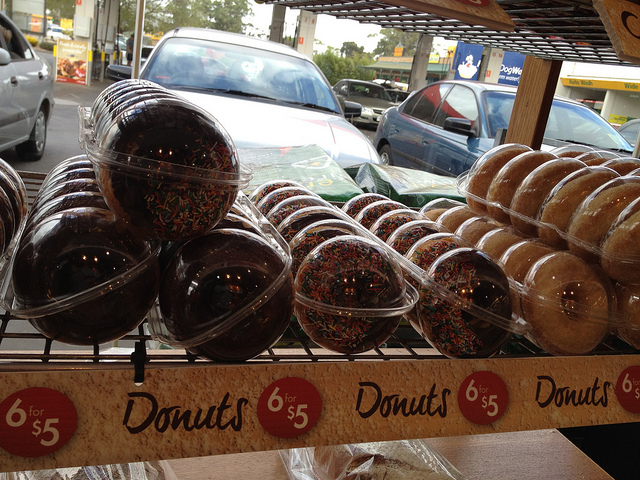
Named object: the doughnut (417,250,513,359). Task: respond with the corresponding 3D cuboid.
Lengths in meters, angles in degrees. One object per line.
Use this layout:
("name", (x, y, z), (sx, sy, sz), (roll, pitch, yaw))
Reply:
("doughnut", (0.280, 0.131, 0.857), (0.194, 0.203, 0.091), (-22, 8, -9))

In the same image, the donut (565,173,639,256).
("donut", (0.609, -0.060, 0.935), (0.161, 0.167, 0.051), (-7, 24, -45))

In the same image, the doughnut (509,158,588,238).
("doughnut", (0.564, -0.111, 1.018), (0.190, 0.201, 0.066), (-5, -5, -3))

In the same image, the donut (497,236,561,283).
("donut", (0.499, 0.034, 0.959), (0.116, 0.044, 0.120), (-14, 32, 10))

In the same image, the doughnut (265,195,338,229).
("doughnut", (-0.046, -0.070, 1.072), (0.177, 0.073, 0.180), (-7, 7, -36))

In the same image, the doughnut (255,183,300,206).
("doughnut", (-0.132, -0.145, 1.182), (0.078, 0.018, 0.080), (-30, 68, -12))

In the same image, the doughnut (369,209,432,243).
("doughnut", (0.202, -0.057, 1.054), (0.104, 0.039, 0.104), (-11, 19, -36))

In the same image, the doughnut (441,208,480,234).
("doughnut", (0.421, -0.058, 1.194), (0.072, 0.071, 0.075), (21, 69, 27))

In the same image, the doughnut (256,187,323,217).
("doughnut", (-0.082, -0.093, 1.094), (0.125, 0.050, 0.130), (5, 10, 21))

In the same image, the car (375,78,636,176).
("car", (1.612, -1.201, 4.736), (1.599, 1.070, 2.980), (-3, 12, -26))

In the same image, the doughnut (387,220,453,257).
("doughnut", (0.234, -0.025, 0.966), (0.099, 0.038, 0.102), (15, 28, 33))

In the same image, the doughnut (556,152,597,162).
("doughnut", (0.782, -0.251, 1.226), (0.072, 0.019, 0.074), (0, 10, -1))

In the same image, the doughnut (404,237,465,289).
("doughnut", (0.255, 0.035, 0.860), (0.130, 0.050, 0.137), (-20, 21, 20))

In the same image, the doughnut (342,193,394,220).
("doughnut", (0.138, -0.097, 1.195), (0.103, 0.024, 0.103), (-10, 20, -31))

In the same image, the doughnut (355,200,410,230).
("doughnut", (0.157, -0.079, 1.140), (0.096, 0.024, 0.098), (-5, 20, -16))

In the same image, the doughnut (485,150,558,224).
("doughnut", (0.526, -0.156, 1.059), (0.182, 0.063, 0.189), (-5, 28, 4))

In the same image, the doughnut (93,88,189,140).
("doughnut", (-0.375, -0.273, 0.825), (0.158, 0.096, 0.156), (-12, 10, -41))

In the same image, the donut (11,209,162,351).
("donut", (-0.376, 0.064, 0.649), (0.222, 0.223, 0.117), (0, 25, -20))

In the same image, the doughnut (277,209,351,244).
("doughnut", (0.006, -0.024, 0.938), (0.144, 0.052, 0.146), (29, 16, 34))

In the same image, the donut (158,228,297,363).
("donut", (-0.138, 0.073, 0.629), (0.200, 0.219, 0.104), (14, 11, -17))

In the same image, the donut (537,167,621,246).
("donut", (0.588, -0.093, 0.992), (0.182, 0.189, 0.061), (2, 21, -38))

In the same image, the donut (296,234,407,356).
("donut", (0.056, 0.115, 0.776), (0.211, 0.210, 0.127), (8, 23, -3))
